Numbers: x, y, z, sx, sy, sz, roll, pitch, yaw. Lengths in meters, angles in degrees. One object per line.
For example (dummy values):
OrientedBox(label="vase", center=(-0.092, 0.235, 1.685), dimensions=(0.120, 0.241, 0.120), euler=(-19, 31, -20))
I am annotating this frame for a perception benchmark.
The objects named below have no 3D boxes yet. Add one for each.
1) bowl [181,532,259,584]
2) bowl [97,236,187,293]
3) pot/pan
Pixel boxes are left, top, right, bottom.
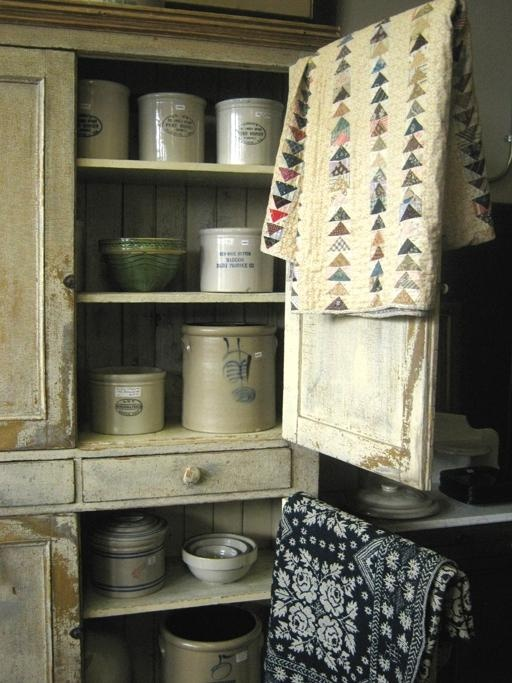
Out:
OrientedBox(label="bowl", center=(-0.105, 0.552, 1.963), dimensions=(0.181, 0.065, 0.170), euler=(2, 12, 0))
OrientedBox(label="bowl", center=(-0.282, -0.194, 1.872), dimensions=(0.183, 0.091, 0.168), euler=(-1, 3, 0))
OrientedBox(label="pot/pan", center=(-0.318, 0.538, 1.926), dimensions=(0.201, 0.142, 0.181), euler=(1, -4, -15))
